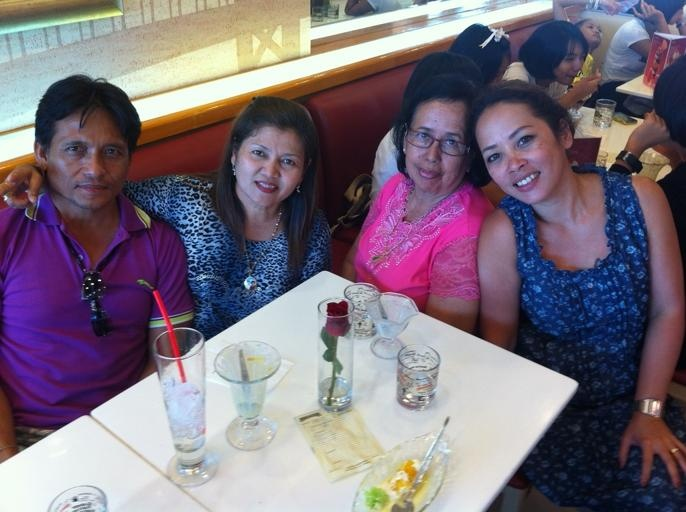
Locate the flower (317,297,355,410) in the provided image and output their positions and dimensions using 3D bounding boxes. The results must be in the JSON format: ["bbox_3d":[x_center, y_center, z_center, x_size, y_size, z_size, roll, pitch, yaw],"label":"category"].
[{"bbox_3d":[-0.023,0.268,1.346,0.098,0.302,0.100,-2,28,0],"label":"flower"}]

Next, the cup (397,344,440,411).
[{"bbox_3d":[0.205,0.338,1.389,0.106,0.119,0.111,0,31,0],"label":"cup"}]

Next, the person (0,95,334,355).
[{"bbox_3d":[-0.541,-0.192,2.177,0.975,0.987,0.948,35,59,23],"label":"person"}]

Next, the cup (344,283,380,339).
[{"bbox_3d":[0.056,0.168,1.535,0.106,0.135,0.125,-11,36,-12],"label":"cup"}]

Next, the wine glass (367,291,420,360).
[{"bbox_3d":[0.146,0.201,1.541,0.184,0.184,0.188,0,38,-3],"label":"wine glass"}]

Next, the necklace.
[{"bbox_3d":[-0.298,-0.075,2.000,0.074,0.074,0.420,14,73,5],"label":"necklace"}]

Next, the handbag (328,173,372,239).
[{"bbox_3d":[0.078,-0.294,2.760,0.245,0.105,0.340,-29,39,42],"label":"handbag"}]
